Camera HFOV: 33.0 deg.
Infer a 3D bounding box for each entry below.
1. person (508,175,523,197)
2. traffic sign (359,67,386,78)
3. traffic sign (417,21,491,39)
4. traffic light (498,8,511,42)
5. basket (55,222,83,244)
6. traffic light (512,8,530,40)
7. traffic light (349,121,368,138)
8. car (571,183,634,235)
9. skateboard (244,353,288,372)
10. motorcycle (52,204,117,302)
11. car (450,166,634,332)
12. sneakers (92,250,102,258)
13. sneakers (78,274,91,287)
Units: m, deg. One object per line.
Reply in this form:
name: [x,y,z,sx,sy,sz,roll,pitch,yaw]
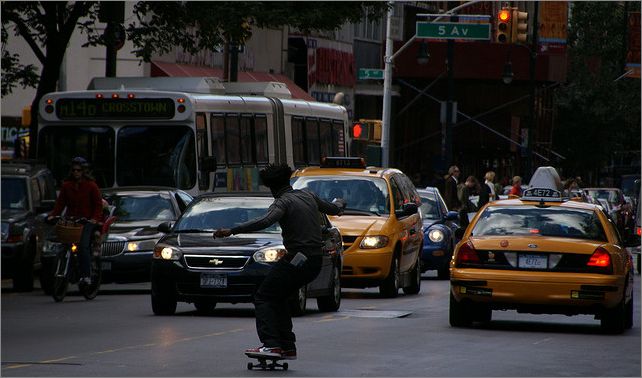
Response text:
person: [6.808,-0.100,37.891,0.331,1.004,0.600,-5,24,-4]
traffic sign: [1.747,-4.023,37.716,0.803,0.343,0.784,0,3,14]
traffic sign: [4.345,-5.210,35.484,2.332,0.683,1.536,0,3,11]
traffic light: [6.554,-5.856,38.637,0.513,1.200,0.746,0,3,11]
basket: [-5.441,0.956,23.385,0.476,0.373,0.484,-3,-6,41]
traffic light: [7.418,-6.072,40.144,0.481,1.246,3.027,0,3,12]
traffic light: [1.380,-2.104,38.774,0.523,0.575,0.165,2,6,-10]
car: [8.936,0.605,34.047,1.625,1.566,3.617,1,7,10]
skateboard: [-0.883,2.733,17.157,0.557,0.197,0.307,6,-7,-38]
motorcycle: [-5.217,1.420,23.716,0.785,2.094,1.517,2,4,43]
car: [4.118,1.472,20.388,3.346,2.586,1.319,0,3,8]
sneakers: [-4.884,1.427,23.789,0.160,0.166,0.291,5,0,-2]
sneakers: [-5.123,2.001,23.465,0.127,0.153,0.351,1,-12,1]
